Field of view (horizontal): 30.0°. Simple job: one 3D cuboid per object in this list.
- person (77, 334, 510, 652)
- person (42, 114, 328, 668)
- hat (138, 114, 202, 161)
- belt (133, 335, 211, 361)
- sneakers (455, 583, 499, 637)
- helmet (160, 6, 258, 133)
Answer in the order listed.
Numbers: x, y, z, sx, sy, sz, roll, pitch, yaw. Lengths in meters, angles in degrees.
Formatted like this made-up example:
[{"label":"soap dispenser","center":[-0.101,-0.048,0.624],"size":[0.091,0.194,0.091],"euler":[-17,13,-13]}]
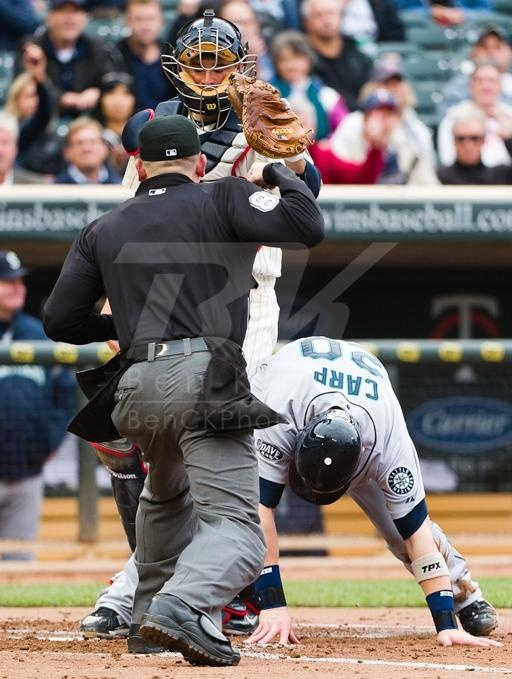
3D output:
[{"label":"person","center":[0.321,0.506,3.164],"size":[1.021,0.636,1.250],"euler":[1,-13,6]},{"label":"person","center":[-0.110,0.198,2.430],"size":[0.611,1.402,0.947],"euler":[-3,28,4]},{"label":"hat","center":[-0.227,-0.522,2.453],"size":[0.128,0.069,0.149],"euler":[-2,14,-3]},{"label":"belt","center":[-0.224,0.027,2.368],"size":[0.208,0.062,0.057],"euler":[0,27,8]},{"label":"sneakers","center":[0.716,0.887,3.160],"size":[0.102,0.068,0.206],"euler":[25,6,-5]},{"label":"helmet","center":[-0.115,-0.885,3.185],"size":[0.407,0.341,0.374],"euler":[-1,41,3]}]
